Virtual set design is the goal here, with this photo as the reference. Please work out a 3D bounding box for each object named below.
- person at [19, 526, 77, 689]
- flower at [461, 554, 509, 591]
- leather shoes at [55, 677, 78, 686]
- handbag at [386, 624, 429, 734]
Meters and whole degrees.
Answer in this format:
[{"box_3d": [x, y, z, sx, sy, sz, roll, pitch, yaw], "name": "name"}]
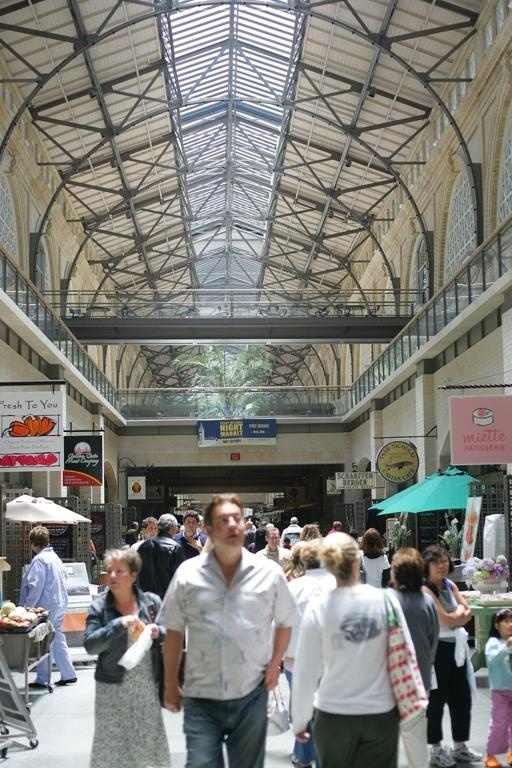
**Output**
[{"box_3d": [-2.362, 2.503, 8.297, 0.445, 1.812, 0.914, -3, -10, -4], "name": "person"}, {"box_3d": [2.653, 2.195, 8.680, 0.433, 0.329, 0.465, 1, -9, 3], "name": "flower"}, {"box_3d": [-2.179, 3.429, 8.596, 0.255, 0.109, 0.086, 5, -12, -10], "name": "leather shoes"}, {"box_3d": [0.616, 1.210, 3.106, 0.133, 0.422, 0.159, -7, -10, 18], "name": "handbag"}]
